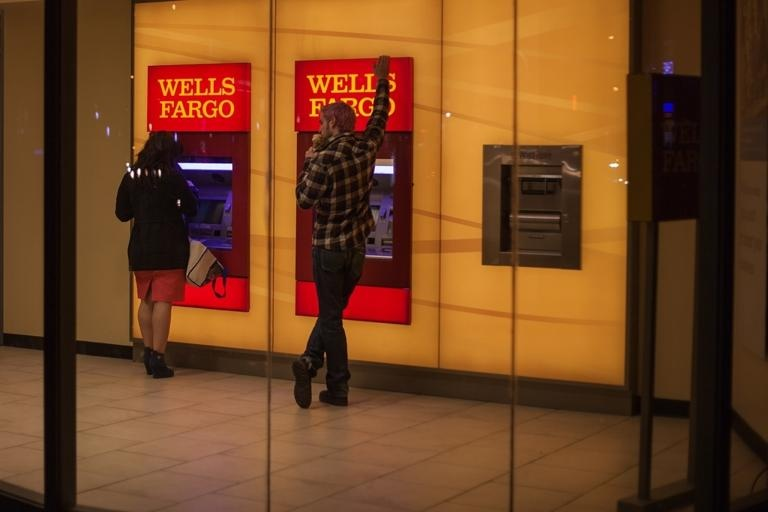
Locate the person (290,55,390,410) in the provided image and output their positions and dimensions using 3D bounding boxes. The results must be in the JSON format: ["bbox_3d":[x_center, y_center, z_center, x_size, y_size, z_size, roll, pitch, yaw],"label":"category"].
[{"bbox_3d":[-0.223,-0.119,3.822,0.495,1.777,0.235,0,9,0],"label":"person"}]

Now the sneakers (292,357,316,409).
[{"bbox_3d":[-0.419,0.650,3.879,0.100,0.279,0.117,-4,-3,8],"label":"sneakers"}]

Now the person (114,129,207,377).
[{"bbox_3d":[-1.192,-0.004,3.839,0.436,1.248,0.150,3,9,20],"label":"person"}]

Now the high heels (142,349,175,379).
[{"bbox_3d":[-1.192,0.568,3.864,0.217,0.156,0.093,-1,3,-22],"label":"high heels"}]
